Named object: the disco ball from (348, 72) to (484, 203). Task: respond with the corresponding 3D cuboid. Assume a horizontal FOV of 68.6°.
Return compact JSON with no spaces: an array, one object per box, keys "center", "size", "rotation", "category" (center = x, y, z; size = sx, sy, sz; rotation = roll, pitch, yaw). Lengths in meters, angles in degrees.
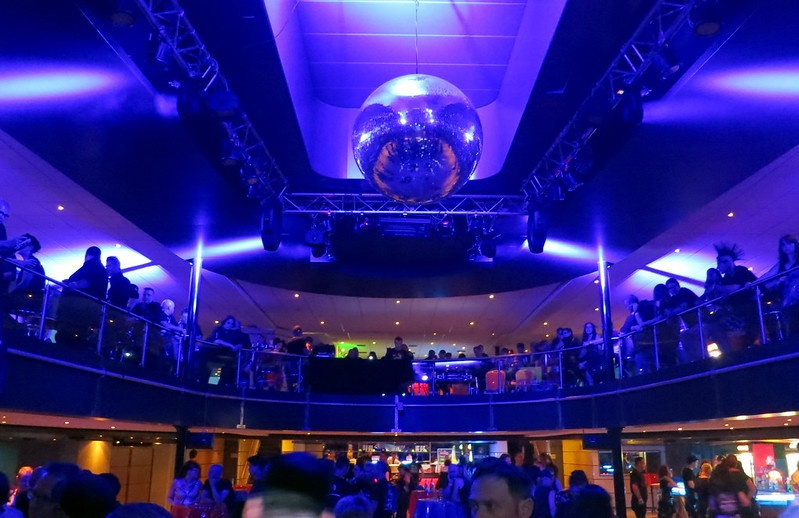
[{"center":[0.136,-1.332,7.762],"size":[1.722,1.543,1.530],"rotation":[1,-6,-5],"category":"disco ball"}]
